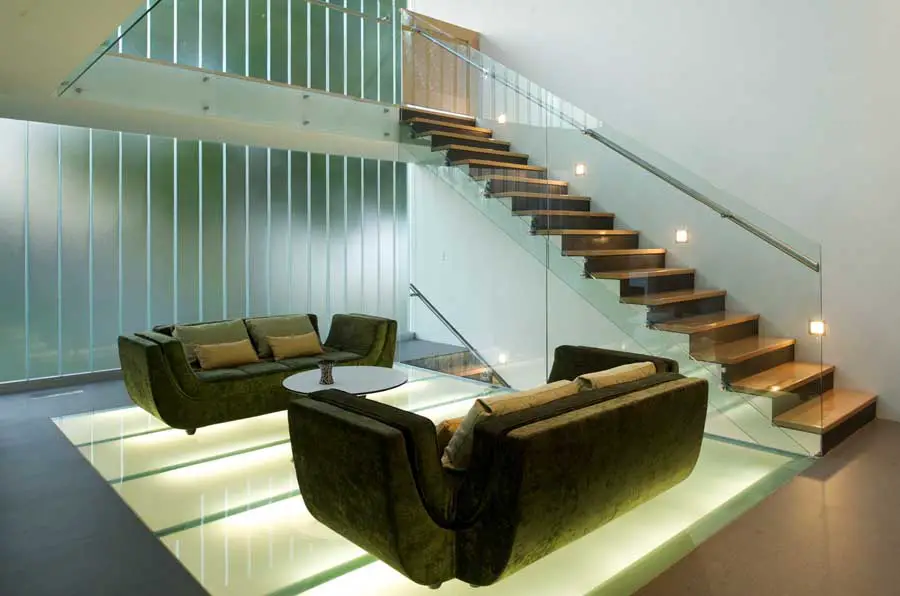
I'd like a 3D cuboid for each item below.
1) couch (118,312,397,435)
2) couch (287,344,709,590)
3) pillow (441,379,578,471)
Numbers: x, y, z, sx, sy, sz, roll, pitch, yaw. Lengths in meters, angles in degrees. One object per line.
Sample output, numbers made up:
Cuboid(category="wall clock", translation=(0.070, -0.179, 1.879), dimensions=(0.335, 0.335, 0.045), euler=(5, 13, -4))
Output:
Cuboid(category="couch", translation=(-1.922, 0.678, 6.430), dimensions=(0.924, 0.897, 2.771), euler=(4, 6, 44))
Cuboid(category="couch", translation=(0.036, 1.075, 3.874), dimensions=(2.365, 0.878, 1.399), euler=(-5, 7, -42))
Cuboid(category="pillow", translation=(0.373, 0.720, 3.953), dimensions=(0.736, 0.226, 0.546), euler=(-15, 3, -34))
